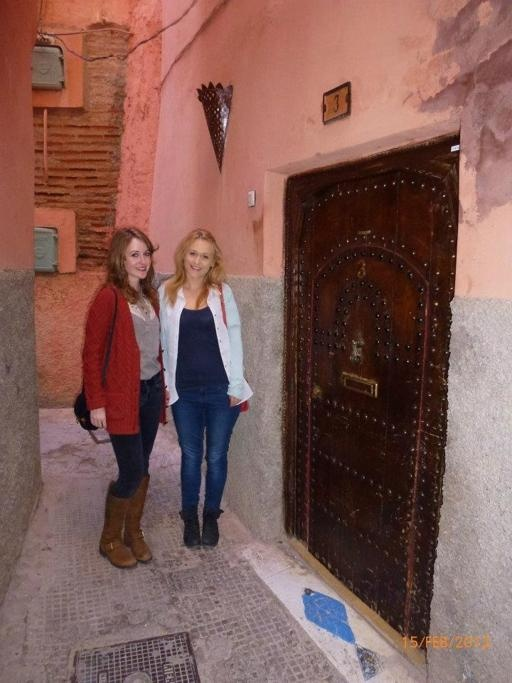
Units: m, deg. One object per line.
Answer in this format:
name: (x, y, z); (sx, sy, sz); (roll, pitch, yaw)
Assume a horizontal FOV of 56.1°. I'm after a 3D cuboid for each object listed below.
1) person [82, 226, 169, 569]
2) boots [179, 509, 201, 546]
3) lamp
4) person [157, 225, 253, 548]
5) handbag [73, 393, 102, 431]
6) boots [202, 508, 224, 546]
person: (-0.670, 0.303, 2.408); (0.319, 1.725, 0.502); (3, 5, 17)
boots: (-0.372, 1.054, 2.728); (0.062, 0.105, 0.221); (-1, 9, -9)
lamp: (-0.241, -1.358, 3.076); (0.196, 0.563, 0.230); (-14, 39, -16)
person: (-0.278, 0.269, 2.685); (0.522, 1.751, 0.230); (0, 5, -16)
handbag: (-0.825, 0.347, 2.351); (0.103, 0.201, 0.168); (-9, 10, -11)
boots: (-0.250, 1.059, 2.700); (0.063, 0.094, 0.218); (2, 33, -12)
